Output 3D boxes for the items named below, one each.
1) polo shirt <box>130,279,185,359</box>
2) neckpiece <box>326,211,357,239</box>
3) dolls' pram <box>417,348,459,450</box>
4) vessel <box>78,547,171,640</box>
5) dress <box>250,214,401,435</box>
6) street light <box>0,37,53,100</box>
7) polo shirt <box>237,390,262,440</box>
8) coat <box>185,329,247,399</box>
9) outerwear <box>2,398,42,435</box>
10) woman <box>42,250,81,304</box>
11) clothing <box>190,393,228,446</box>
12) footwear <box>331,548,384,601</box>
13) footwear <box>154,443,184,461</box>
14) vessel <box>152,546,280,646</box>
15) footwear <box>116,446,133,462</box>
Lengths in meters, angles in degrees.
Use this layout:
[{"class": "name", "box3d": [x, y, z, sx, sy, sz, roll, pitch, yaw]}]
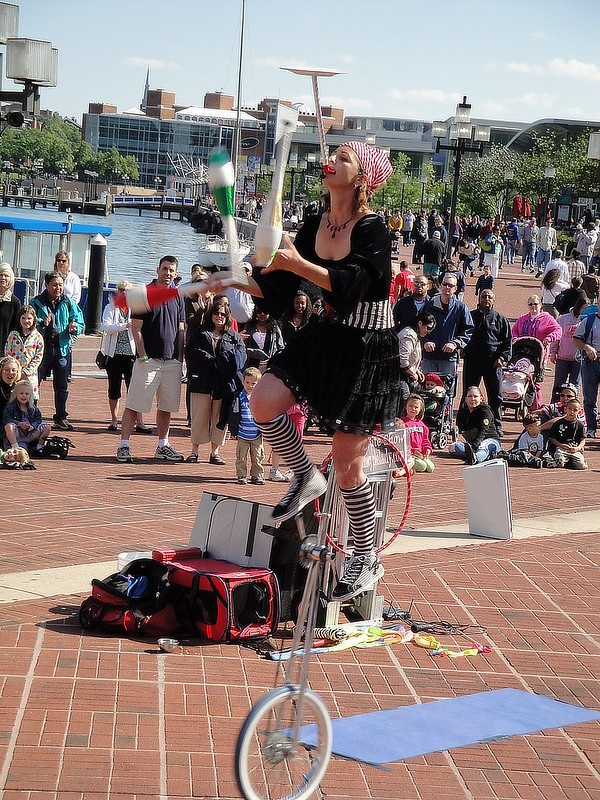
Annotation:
[{"class": "polo shirt", "box3d": [-1.627, -0.801, 9.185, 0.526, 0.665, 0.194, -4, 12, -43]}, {"class": "neckpiece", "box3d": [0.146, -0.608, 2.726, 0.069, 0.052, 0.088, 12, 6, 38]}, {"class": "dolls' pram", "box3d": [2.010, 0.082, 11.758, 0.804, 1.128, 0.864, 0, 19, 22]}, {"class": "vessel", "box3d": [-0.869, 1.029, 4.061, 0.455, 0.285, 0.505, -9, 12, -36]}, {"class": "dress", "box3d": [0.073, -0.169, 2.772, 0.611, 0.919, 0.494, 0, 5, -3]}, {"class": "street light", "box3d": [-3.763, -4.713, 10.993, 0.648, 0.596, 0.365, 2, 9, -9]}, {"class": "polo shirt", "box3d": [-0.571, 0.182, 8.640, 0.453, 0.534, 0.298, -2, -14, 2]}, {"class": "coat", "box3d": [-0.966, -0.406, 9.120, 0.675, 0.800, 0.432, 3, 9, -8]}, {"class": "outerwear", "box3d": [-3.231, 0.209, 9.199, 0.561, 0.464, 0.357, 1, -8, -20]}, {"class": "woman", "box3d": [-3.623, -1.680, 12.127, 0.458, 1.075, 0.399, 0, -7, -12]}, {"class": "clothing", "box3d": [-1.063, 0.185, 9.343, 0.451, 0.771, 0.263, -1, 24, -9]}, {"class": "footwear", "box3d": [0.235, 0.689, 3.166, 0.112, 0.116, 0.298, 11, 17, 26]}, {"class": "footwear", "box3d": [-1.564, 0.629, 9.371, 0.417, 0.177, 0.149, 4, 6, 12]}, {"class": "vessel", "box3d": [-0.462, 1.022, 4.201, 0.661, 0.360, 0.446, 2, -2, 43]}, {"class": "footwear", "box3d": [-2.019, 0.619, 9.086, 0.189, 0.199, 0.227, 2, 9, -11]}]
